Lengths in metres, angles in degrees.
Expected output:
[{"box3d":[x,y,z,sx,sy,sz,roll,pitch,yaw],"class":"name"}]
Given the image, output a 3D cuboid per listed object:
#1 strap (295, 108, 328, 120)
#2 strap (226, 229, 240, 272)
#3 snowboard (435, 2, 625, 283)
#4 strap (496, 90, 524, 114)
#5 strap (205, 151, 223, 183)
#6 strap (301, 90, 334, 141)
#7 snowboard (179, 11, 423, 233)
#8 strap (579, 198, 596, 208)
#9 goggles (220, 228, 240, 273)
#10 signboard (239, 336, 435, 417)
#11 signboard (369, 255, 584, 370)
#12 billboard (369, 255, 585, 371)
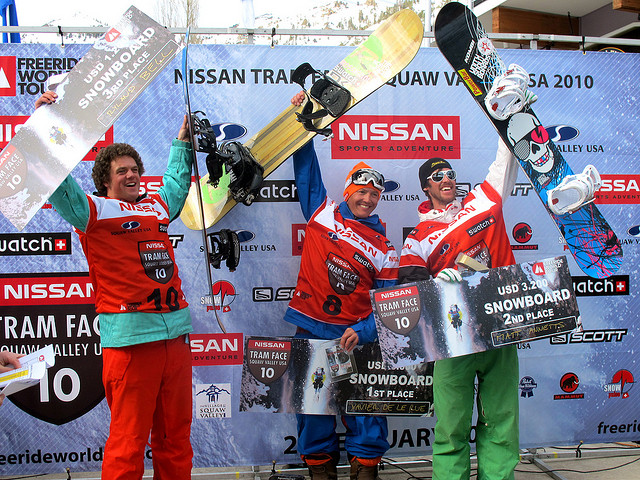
[{"box3d":[-0.050,-0.781,4.080,0.199,0.060,0.051,-5,-9,11],"class":"strap"},{"box3d":[-0.546,0.068,4.065,0.061,0.213,0.139,4,3,-13],"class":"strap"},{"box3d":[1.356,-0.559,4.267,0.486,2.537,0.594,-34,18,-11],"class":"snowboard"},{"box3d":[1.145,-0.827,3.954,0.156,0.114,0.054,-35,19,28],"class":"strap"},{"box3d":[-0.632,-0.438,3.901,0.080,0.171,0.037,-9,12,-8],"class":"strap"},{"box3d":[-0.040,-0.750,4.156,0.078,0.240,0.222,-4,2,-13],"class":"strap"},{"box3d":[-0.143,-0.720,4.237,1.984,0.389,0.357,-43,-20,20],"class":"snowboard"},{"box3d":[1.609,-0.223,3.958,0.088,0.043,0.020,-2,-9,-1],"class":"strap"},{"box3d":[-0.553,0.058,4.084,0.072,0.226,0.155,6,-1,-25],"class":"goggles"},{"box3d":[0.086,0.865,4.173,1.283,0.563,0.013,1,1,-4],"class":"signboard"},{"box3d":[0.913,0.430,3.882,1.214,0.600,0.082,-3,-8,2],"class":"signboard"},{"box3d":[0.881,0.424,3.946,1.530,0.679,0.024,-13,-4,1],"class":"billboard"}]
